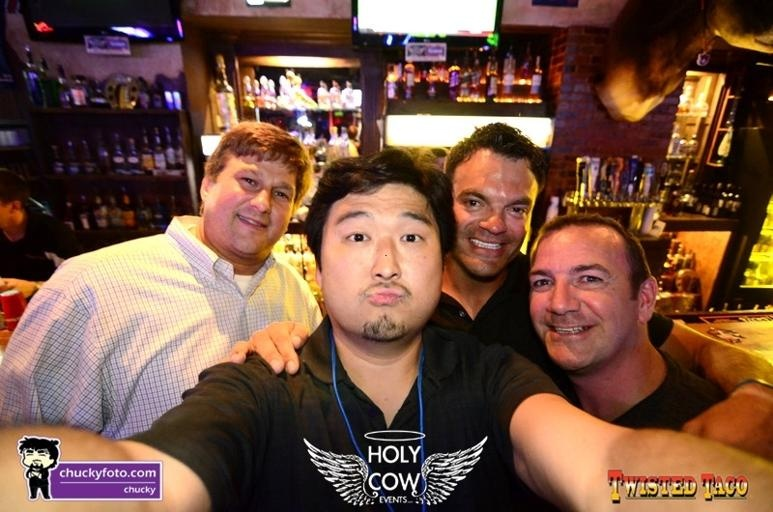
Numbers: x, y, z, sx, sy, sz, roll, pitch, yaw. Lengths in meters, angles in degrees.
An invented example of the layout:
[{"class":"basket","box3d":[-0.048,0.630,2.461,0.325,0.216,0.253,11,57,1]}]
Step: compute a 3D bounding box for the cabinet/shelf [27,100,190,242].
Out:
[{"class":"cabinet/shelf","box3d":[-3.058,-0.865,5.926,1.734,1.498,0.513,-1,-10,0]}]
